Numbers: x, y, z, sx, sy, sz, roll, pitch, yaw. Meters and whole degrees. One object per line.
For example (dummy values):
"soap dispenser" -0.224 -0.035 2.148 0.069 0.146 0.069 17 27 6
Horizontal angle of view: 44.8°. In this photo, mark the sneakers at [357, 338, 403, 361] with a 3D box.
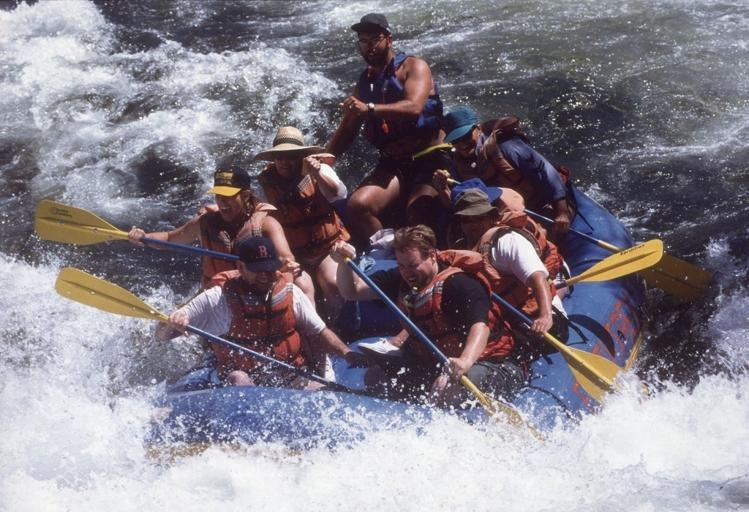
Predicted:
"sneakers" 0.076 0.955 9.403 0.474 0.193 0.210 17 62 -6

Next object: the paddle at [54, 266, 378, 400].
"paddle" -1.602 0.861 9.580 3.636 0.199 0.413 16 52 4

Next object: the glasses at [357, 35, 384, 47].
"glasses" -0.040 -2.356 9.975 0.272 0.161 0.090 -1 52 11

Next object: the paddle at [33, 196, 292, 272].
"paddle" -2.403 -0.319 10.346 2.745 0.565 0.582 1 47 -17

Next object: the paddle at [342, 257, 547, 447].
"paddle" 0.767 0.990 8.985 2.428 0.114 0.283 50 114 20

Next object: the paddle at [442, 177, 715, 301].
"paddle" 2.238 -0.141 10.073 2.686 0.109 0.385 33 88 9

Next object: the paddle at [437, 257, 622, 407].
"paddle" 1.609 0.685 9.563 2.204 0.251 0.529 40 82 15
